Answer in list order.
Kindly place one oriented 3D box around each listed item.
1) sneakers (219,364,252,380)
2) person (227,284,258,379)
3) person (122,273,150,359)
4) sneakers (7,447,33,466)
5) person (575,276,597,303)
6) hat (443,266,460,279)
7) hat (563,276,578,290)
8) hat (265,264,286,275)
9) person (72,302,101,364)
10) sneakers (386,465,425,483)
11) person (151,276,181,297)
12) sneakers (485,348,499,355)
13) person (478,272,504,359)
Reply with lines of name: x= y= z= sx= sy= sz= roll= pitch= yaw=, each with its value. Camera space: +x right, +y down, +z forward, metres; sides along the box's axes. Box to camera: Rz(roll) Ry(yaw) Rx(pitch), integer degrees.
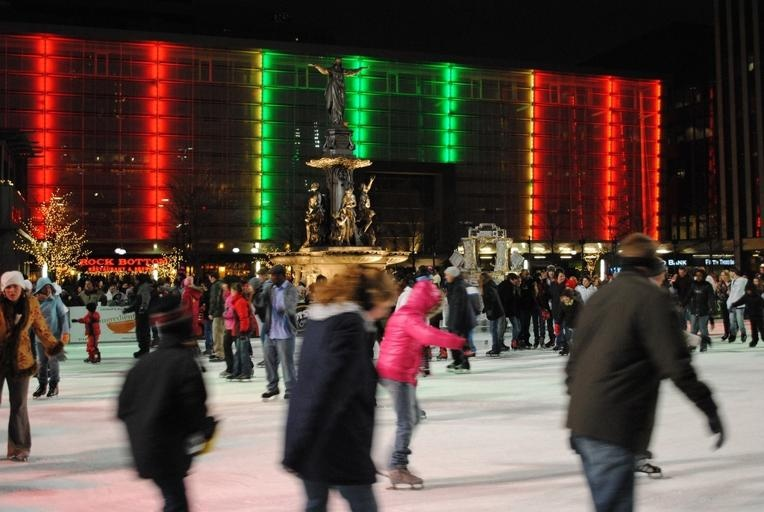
sneakers: x=-3.203 y=2.520 z=18.493 sx=0.764 sy=0.260 sz=0.245 roll=1 pitch=-6 yaw=20
person: x=-3.050 y=1.616 z=18.485 sx=0.610 sy=2.099 sz=0.986 roll=-1 pitch=1 yaw=-8
person: x=-7.040 y=1.765 z=24.296 sx=1.152 sy=2.491 sz=1.066 roll=0 pitch=-44 yaw=-12
sneakers: x=-4.745 y=2.602 z=11.134 sx=0.257 sy=0.139 sz=0.188 roll=2 pitch=-5 yaw=-13
person: x=5.027 y=0.810 z=21.098 sx=0.696 sy=0.988 sz=0.348 roll=-3 pitch=-44 yaw=14
hat: x=1.523 y=0.336 z=18.420 sx=0.333 sy=0.246 sz=0.240 roll=-13 pitch=16 yaw=-10
hat: x=5.061 y=0.700 z=22.977 sx=0.354 sy=0.246 sz=0.560 roll=-2 pitch=-7 yaw=40
hat: x=-1.998 y=0.250 z=15.678 sx=0.268 sy=0.092 sz=0.259 roll=-6 pitch=-6 yaw=27
person: x=-7.707 y=1.972 z=22.491 sx=0.475 sy=1.544 sz=1.433 roll=-1 pitch=1 yaw=-19
sneakers: x=0.270 y=2.565 z=10.127 sx=0.493 sy=0.183 sz=0.158 roll=4 pitch=5 yaw=4
person: x=-6.072 y=0.826 z=23.804 sx=0.858 sy=0.322 sz=1.016 roll=3 pitch=-5 yaw=-18
sneakers: x=2.952 y=2.543 z=22.680 sx=0.362 sy=0.165 sz=0.275 roll=-1 pitch=1 yaw=3
person: x=2.967 y=1.547 z=22.904 sx=0.636 sy=2.189 sz=1.004 roll=-1 pitch=1 yaw=6
